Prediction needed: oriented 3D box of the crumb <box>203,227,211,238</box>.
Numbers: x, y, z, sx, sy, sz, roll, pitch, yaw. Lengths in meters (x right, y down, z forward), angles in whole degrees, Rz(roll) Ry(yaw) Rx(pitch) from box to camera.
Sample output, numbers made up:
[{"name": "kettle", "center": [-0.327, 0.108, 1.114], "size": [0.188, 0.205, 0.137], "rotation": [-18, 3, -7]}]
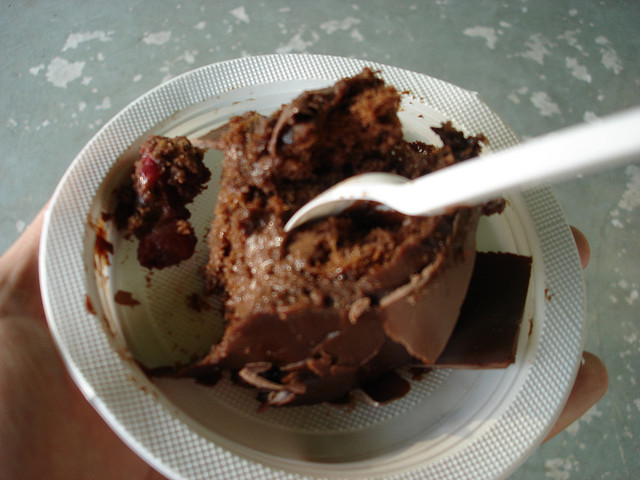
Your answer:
[{"name": "crumb", "center": [-0.361, -0.023, 2.255], "size": [0.024, 0.010, 0.029], "rotation": [-7, 88, 3]}]

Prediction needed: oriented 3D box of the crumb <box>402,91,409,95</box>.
[{"name": "crumb", "center": [0.281, -0.476, 2.292], "size": [0.021, 0.013, 0.012], "rotation": [-7, 83, -1]}]
